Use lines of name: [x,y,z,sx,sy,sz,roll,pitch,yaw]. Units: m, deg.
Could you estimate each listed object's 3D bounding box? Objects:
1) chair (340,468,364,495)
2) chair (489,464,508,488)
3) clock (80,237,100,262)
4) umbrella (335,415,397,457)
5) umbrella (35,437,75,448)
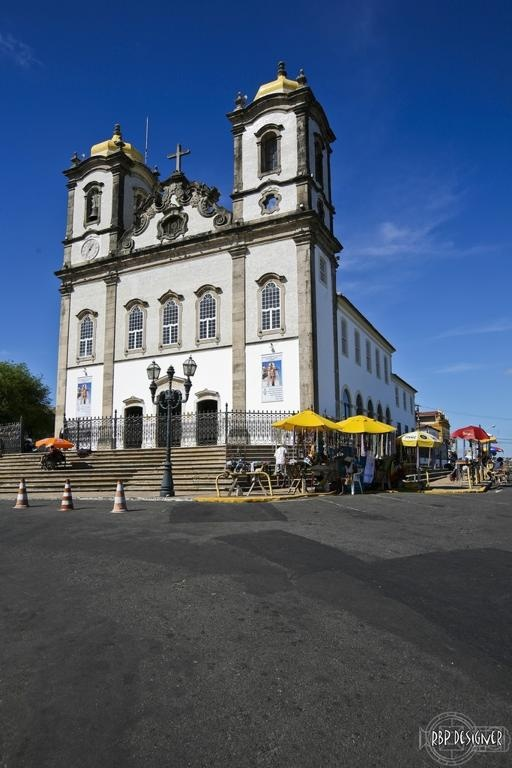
chair: [3.290,3.401,18.628,0.636,0.978,0.691,-3,-17,14]
chair: [11.722,4.454,26.189,0.751,0.823,4.622,-2,-8,25]
clock: [-10.255,-8.376,33.771,1.366,1.862,0.179,-10,-16,30]
umbrella: [3.998,1.602,19.828,1.643,0.789,1.723,-5,-12,31]
umbrella: [-9.106,2.699,24.857,0.736,0.295,0.804,-5,-16,17]
